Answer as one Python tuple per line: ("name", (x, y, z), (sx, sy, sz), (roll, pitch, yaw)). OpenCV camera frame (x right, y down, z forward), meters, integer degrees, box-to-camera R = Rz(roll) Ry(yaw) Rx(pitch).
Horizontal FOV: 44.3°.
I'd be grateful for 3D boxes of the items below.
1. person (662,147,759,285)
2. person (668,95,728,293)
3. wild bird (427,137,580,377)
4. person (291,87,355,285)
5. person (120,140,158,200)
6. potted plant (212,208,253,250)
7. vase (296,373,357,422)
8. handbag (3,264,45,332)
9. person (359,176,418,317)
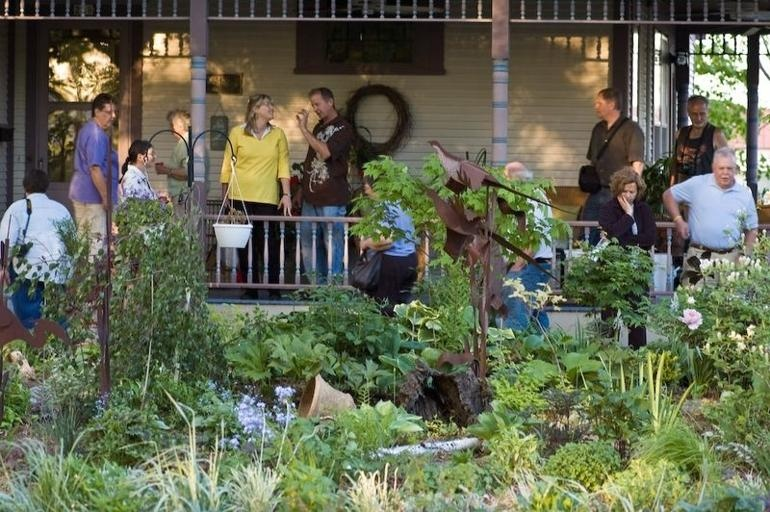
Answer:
("person", (3.605, -0.074, 10.446), (0.897, 2.320, 0.633), (4, 27, 23))
("person", (4.130, -0.926, 11.949), (0.565, 2.241, 0.677), (-20, 7, -34))
("wild bird", (0.850, -0.029, 8.098), (0.927, 1.881, 1.093), (2, 4, 14))
("person", (-0.736, -0.857, 11.429), (0.652, 2.356, 0.790), (1, 3, -4))
("person", (-2.805, -0.985, 10.653), (0.421, 0.910, 0.841), (-1, 6, -13))
("potted plant", (-1.569, -0.260, 9.846), (0.369, 0.561, 0.482), (1, -5, -6))
("vase", (-0.462, 1.217, 7.658), (0.352, 0.379, 0.408), (6, 40, -12))
("handbag", (-3.398, 0.393, 8.890), (0.665, 0.743, 0.166), (10, 8, 39))
("person", (0.042, -0.070, 10.013), (0.597, 1.400, 1.296), (1, 4, 2))
